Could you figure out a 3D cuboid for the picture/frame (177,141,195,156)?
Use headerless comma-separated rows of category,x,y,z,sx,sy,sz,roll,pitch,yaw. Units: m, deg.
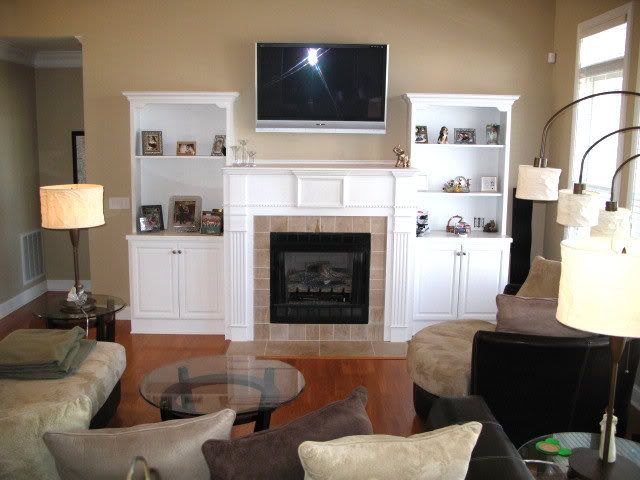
picture/frame,-1.451,-0.996,5.606,0.155,0.147,0.012,-3,-10,-6

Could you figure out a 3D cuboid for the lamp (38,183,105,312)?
lamp,-2.016,0.055,4.298,0.484,0.994,0.529,-6,15,-28

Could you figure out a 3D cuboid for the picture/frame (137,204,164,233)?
picture/frame,-1.857,-0.228,5.628,0.261,0.287,0.065,4,-8,-28

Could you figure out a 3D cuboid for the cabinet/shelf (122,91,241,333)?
cabinet/shelf,-1.451,-0.294,5.511,1.166,2.511,0.828,-1,13,-10

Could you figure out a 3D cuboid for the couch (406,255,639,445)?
couch,1.336,0.722,3.545,1.166,0.957,1.101,4,9,17

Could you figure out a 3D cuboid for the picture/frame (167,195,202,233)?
picture/frame,-1.504,-0.282,5.723,0.371,0.475,0.043,1,-4,-6

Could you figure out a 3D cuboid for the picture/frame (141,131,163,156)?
picture/frame,-1.805,-1.043,5.541,0.243,0.341,0.034,-1,-2,-7

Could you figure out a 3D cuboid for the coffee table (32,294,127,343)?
coffee table,-2.007,0.673,4.363,0.408,0.286,0.427,2,21,-16

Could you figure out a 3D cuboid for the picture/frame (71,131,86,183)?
picture/frame,-3.023,-1.053,6.532,0.256,0.647,0.126,5,13,17

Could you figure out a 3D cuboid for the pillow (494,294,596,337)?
pillow,1.335,0.487,3.243,0.352,0.120,0.367,6,43,2

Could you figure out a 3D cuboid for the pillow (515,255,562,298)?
pillow,1.780,0.329,4.190,0.120,0.355,0.333,16,-6,-26
